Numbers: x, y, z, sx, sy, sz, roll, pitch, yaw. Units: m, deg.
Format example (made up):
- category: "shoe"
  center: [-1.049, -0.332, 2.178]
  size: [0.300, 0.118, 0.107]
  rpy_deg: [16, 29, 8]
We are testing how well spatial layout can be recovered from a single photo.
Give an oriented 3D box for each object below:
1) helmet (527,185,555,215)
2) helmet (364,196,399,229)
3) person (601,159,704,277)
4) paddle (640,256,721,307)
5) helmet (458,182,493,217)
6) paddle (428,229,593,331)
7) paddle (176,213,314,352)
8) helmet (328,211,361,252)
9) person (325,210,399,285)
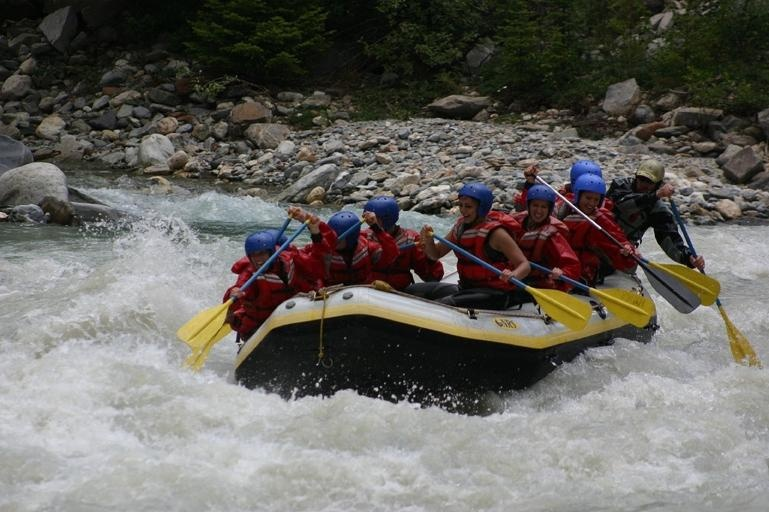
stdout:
- category: "helmet"
  center: [1.921, -0.697, 9.257]
  size: [0.334, 0.374, 0.239]
  rpy_deg: [0, 35, 7]
- category: "helmet"
  center: [-0.019, -0.549, 9.582]
  size: [0.518, 0.379, 0.361]
  rpy_deg: [17, -4, -22]
- category: "person"
  center: [3.799, -0.515, 10.528]
  size: [1.393, 1.556, 0.752]
  rpy_deg: [0, 31, 32]
- category: "paddle"
  center: [4.077, 0.341, 9.963]
  size: [1.363, 0.191, 0.366]
  rpy_deg: [24, 86, 22]
- category: "helmet"
  center: [1.102, -0.687, 9.125]
  size: [0.401, 0.437, 0.280]
  rpy_deg: [-3, 34, 3]
- category: "paddle"
  center: [1.491, 0.314, 9.089]
  size: [3.053, 0.448, 0.141]
  rpy_deg: [22, -3, 3]
- category: "paddle"
  center: [-1.883, 0.399, 10.000]
  size: [2.806, 0.413, 0.661]
  rpy_deg: [-42, 82, -15]
- category: "helmet"
  center: [-0.471, -0.316, 9.177]
  size: [0.365, 0.432, 0.304]
  rpy_deg: [-17, 36, -18]
- category: "person"
  center: [-0.292, -0.088, 9.244]
  size: [1.031, 0.472, 1.265]
  rpy_deg: [3, 76, -6]
